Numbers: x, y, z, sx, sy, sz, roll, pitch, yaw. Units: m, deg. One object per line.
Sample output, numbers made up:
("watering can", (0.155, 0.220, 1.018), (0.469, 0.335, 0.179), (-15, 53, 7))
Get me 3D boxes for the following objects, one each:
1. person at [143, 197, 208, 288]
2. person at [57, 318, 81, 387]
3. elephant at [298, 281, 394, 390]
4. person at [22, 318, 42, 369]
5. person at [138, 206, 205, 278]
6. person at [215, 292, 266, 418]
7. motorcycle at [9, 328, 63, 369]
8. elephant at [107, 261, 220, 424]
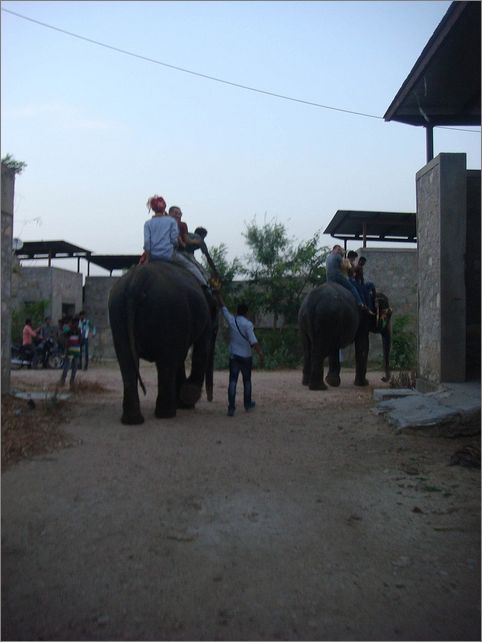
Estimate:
("person", (-0.828, -0.884, 6.038), (0.363, 1.415, 0.678), (-5, 7, 33))
("person", (-2.790, 0.508, 8.104), (0.255, 1.292, 0.290), (-2, 29, -31))
("elephant", (1.850, 0.246, 8.525), (1.954, 1.788, 1.291), (-1, 3, -23))
("person", (-6.202, 0.599, 14.442), (0.414, 1.393, 2.347), (-1, 3, -23))
("person", (-0.853, -0.891, 6.026), (0.350, 1.356, 0.686), (-3, 8, 28))
("person", (-0.043, 0.395, 5.637), (0.396, 1.610, 0.409), (1, -15, -1))
("motorcycle", (-5.681, 0.945, 13.905), (1.414, 1.483, 1.083), (0, 2, -22))
("elephant", (-0.825, 0.197, 5.454), (0.713, 1.786, 1.903), (1, 3, 15))
